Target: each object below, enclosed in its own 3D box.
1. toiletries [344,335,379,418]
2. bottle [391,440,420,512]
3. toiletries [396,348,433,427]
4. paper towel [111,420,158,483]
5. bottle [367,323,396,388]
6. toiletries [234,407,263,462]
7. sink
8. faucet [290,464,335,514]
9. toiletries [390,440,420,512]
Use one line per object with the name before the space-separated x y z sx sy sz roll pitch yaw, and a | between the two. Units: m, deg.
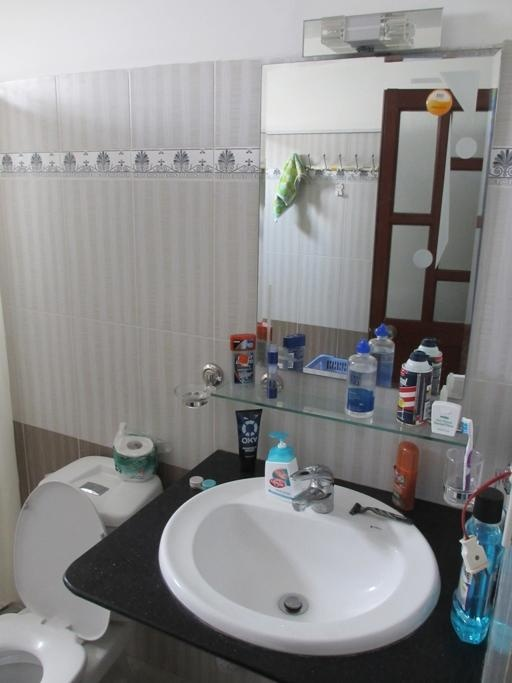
toiletries | 0.236 0.081 1.188 0.084 0.163 0.096 5 24 9
bottle | 0.346 0.318 1.189 0.064 0.174 0.054 8 12 32
toiletries | 0.335 0.107 1.138 0.077 0.155 0.076 19 24 19
paper towel | -0.365 0.328 1.592 0.141 0.165 0.191 -1 7 -15
bottle | 0.304 0.031 1.254 0.072 0.141 0.054 18 26 26
toiletries | -0.020 0.240 1.394 0.063 0.144 0.102 -1 14 0
sink | 0.082 0.472 1.073 0.556 0.151 0.498 3 15 15
faucet | 0.147 0.336 1.193 0.063 0.121 0.148 4 3 35
toiletries | 0.338 0.316 1.214 0.054 0.174 0.062 -3 10 -23
